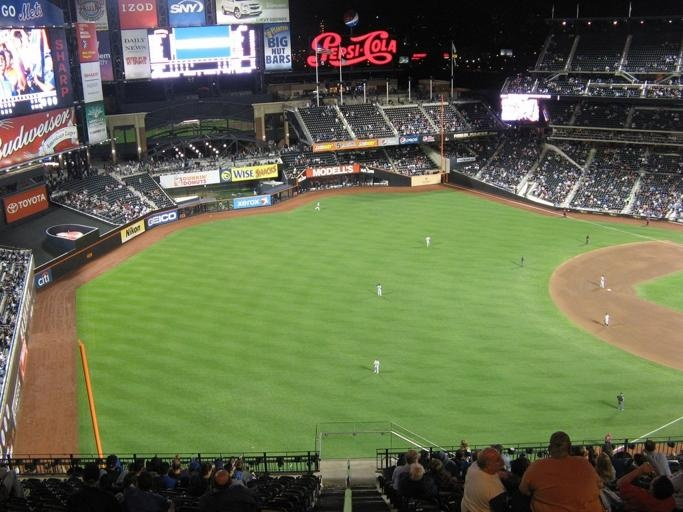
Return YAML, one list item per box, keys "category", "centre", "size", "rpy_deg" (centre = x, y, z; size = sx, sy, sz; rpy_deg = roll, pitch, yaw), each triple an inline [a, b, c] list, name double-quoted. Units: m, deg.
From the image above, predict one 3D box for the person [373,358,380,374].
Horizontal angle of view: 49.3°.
- category: "person"
  centre: [2.074, 6.286, 43.004]
  size: [0.434, 0.683, 1.104]
  rpy_deg: [-2, 11, 3]
